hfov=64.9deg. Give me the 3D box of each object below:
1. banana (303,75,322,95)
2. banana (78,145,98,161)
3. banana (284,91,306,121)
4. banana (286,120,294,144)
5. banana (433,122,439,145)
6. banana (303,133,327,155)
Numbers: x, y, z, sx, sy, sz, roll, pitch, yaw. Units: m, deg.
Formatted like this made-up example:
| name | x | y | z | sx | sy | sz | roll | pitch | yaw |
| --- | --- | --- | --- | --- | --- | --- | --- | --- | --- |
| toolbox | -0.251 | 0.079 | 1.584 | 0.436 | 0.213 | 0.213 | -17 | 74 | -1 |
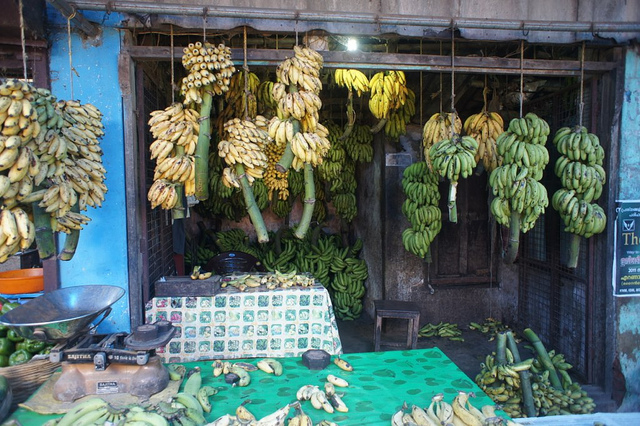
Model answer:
| name | x | y | z | sx | sy | sz | roll | pitch | yaw |
| --- | --- | --- | --- | --- | --- | --- | --- | --- | --- |
| banana | -0.083 | -1.323 | 5.261 | 0.049 | 0.157 | 0.195 | 6 | -15 | 45 |
| banana | -2.193 | -0.565 | 4.791 | 0.063 | 0.064 | 0.217 | -33 | -40 | 13 |
| banana | -0.238 | -1.085 | 5.142 | 0.178 | 0.283 | 0.091 | -39 | -12 | 27 |
| banana | -0.306 | -0.841 | 5.208 | 0.063 | 0.226 | 0.065 | -3 | -9 | -7 |
| banana | 1.397 | -0.948 | 6.027 | 0.048 | 0.219 | 0.071 | 2 | -11 | 31 |
| banana | -0.029 | -0.713 | 5.236 | 0.066 | 0.163 | 0.263 | -9 | -45 | 47 |
